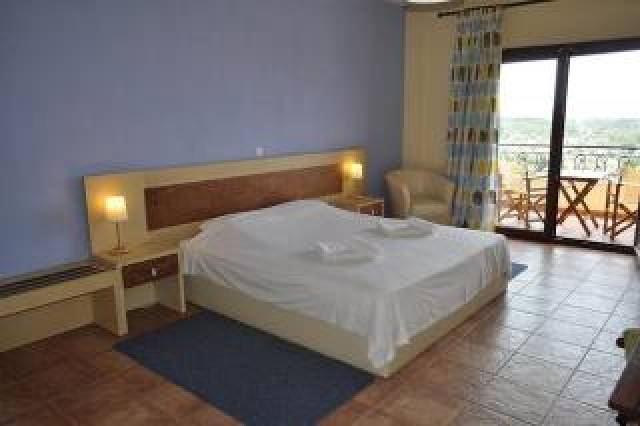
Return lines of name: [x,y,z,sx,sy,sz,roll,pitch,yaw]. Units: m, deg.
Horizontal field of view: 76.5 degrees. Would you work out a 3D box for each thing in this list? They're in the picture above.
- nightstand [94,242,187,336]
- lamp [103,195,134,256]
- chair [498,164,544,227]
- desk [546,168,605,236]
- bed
nightstand: [-2.042,0.803,4.586,0.547,0.789,0.788,11,15,35]
lamp: [-2.197,0.124,4.420,0.226,0.617,0.320,-7,15,-25]
chair: [3.510,-0.289,6.990,0.665,1.041,0.727,-7,14,-31]
desk: [4.377,-0.191,6.874,1.027,1.224,1.016,2,12,29]
bed: [-0.011,0.694,4.344,2.216,0.784,2.248,7,14,39]
